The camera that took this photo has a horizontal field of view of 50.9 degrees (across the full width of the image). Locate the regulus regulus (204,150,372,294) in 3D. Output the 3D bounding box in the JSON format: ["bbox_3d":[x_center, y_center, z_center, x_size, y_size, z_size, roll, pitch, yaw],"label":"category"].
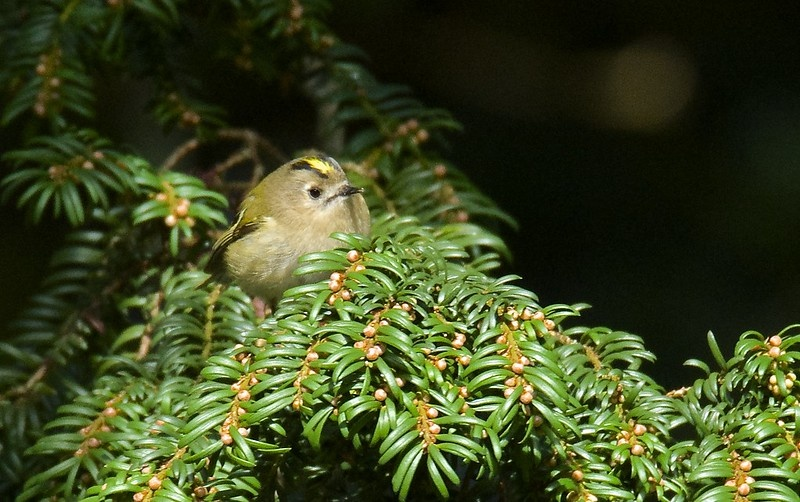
[{"bbox_3d":[-0.336,-0.083,2.460,0.474,0.351,0.399,-5,-89,30],"label":"regulus regulus"}]
